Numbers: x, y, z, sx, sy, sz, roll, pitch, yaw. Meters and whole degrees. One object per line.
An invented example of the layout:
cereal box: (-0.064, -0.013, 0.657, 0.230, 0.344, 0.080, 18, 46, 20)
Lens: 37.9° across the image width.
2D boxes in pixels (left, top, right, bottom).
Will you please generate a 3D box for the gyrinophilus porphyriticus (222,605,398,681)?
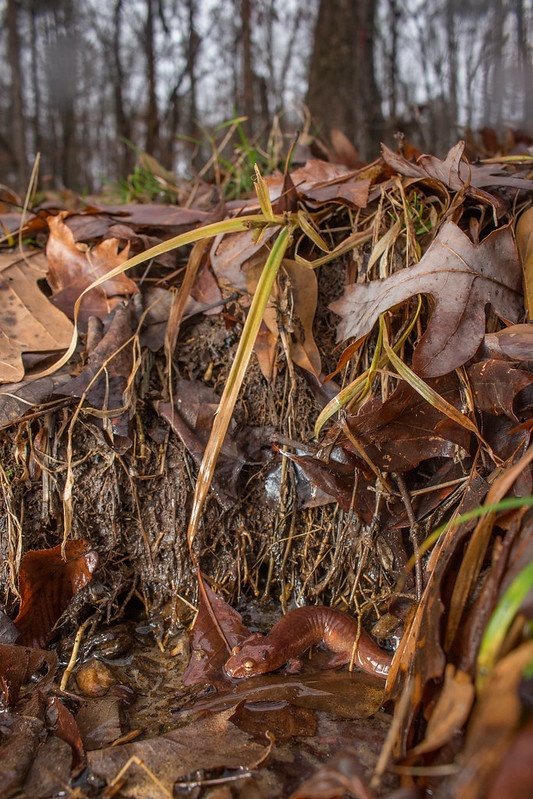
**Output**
gyrinophilus porphyriticus: (0.148, 0.531, 1.808, 0.494, 0.125, 0.133, -3, -4, -38)
